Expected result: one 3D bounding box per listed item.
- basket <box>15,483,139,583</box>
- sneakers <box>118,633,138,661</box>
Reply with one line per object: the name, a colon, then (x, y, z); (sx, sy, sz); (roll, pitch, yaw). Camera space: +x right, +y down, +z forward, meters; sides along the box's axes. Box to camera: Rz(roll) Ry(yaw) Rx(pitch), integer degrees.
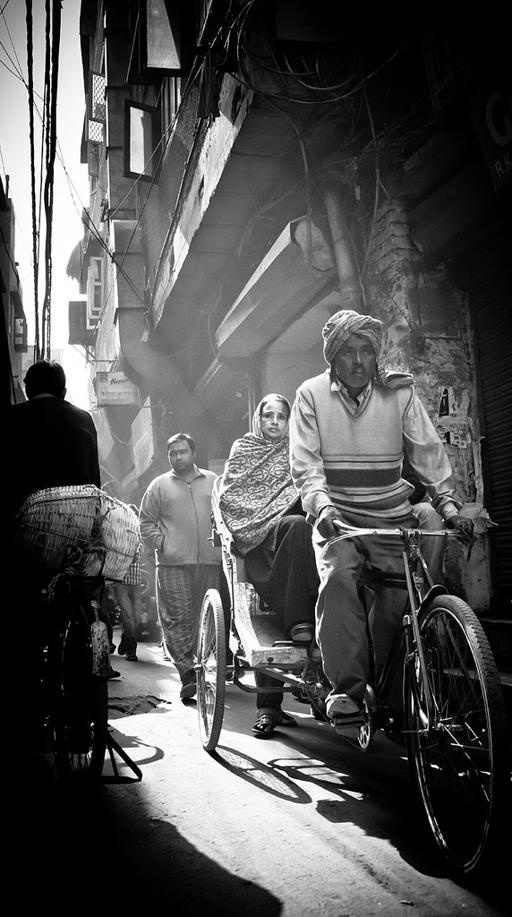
basket: (-0.728, 0.308, 2.908); (0.229, 0.362, 0.457); (-10, 1, -5)
sneakers: (-1.639, 2.449, 8.793); (0.159, 0.305, 0.592); (1, -19, -8)
